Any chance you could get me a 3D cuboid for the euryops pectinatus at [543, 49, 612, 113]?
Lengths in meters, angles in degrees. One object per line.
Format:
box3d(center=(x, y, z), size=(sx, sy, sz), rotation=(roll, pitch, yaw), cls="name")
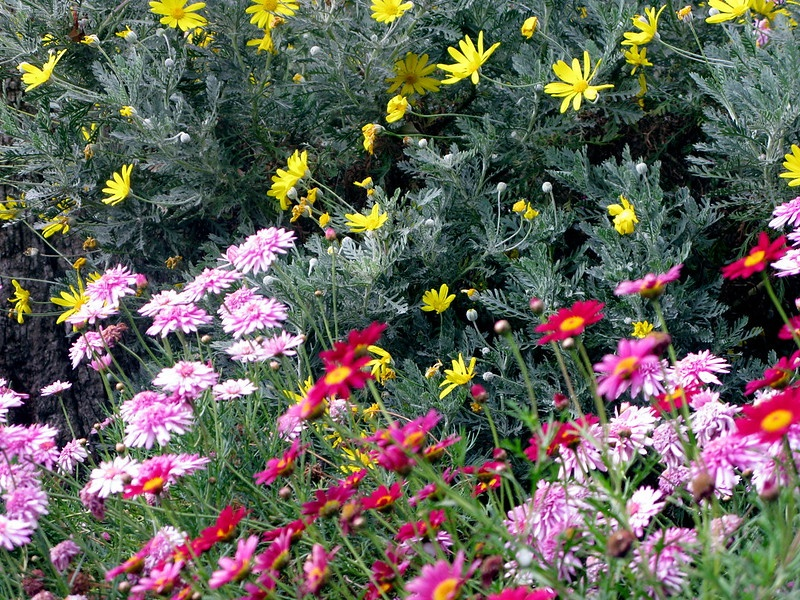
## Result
box3d(center=(0.513, -0.641, 2.812), size=(0.160, 0.146, 0.215), rotation=(-23, 26, 8), cls="euryops pectinatus")
